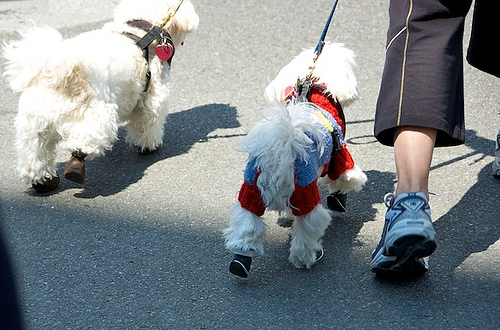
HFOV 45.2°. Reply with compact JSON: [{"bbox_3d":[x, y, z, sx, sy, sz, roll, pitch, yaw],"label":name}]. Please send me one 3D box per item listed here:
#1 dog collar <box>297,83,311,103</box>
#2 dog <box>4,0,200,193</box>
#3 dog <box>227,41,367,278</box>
[{"bbox_3d":[0.379,-0.516,4.310,0.078,0.036,0.135,-3,64,32],"label":"dog collar"},{"bbox_3d":[-1.310,-0.633,5.166,0.719,1.216,1.666,22,38,30],"label":"dog"},{"bbox_3d":[0.403,-0.210,4.701,0.858,1.667,2.283,7,17,14],"label":"dog"}]
